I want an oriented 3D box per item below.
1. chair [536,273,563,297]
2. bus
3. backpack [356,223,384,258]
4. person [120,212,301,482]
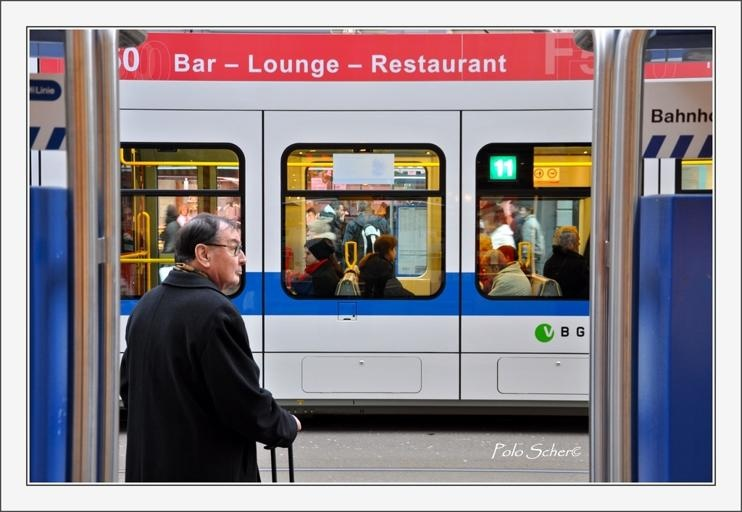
[{"bbox_3d":[1.518,0.202,11.490,0.154,0.216,0.306,-6,7,-15],"label":"chair"},{"bbox_3d":[-0.413,-0.252,12.143,6.688,3.120,2.223,1,5,-26],"label":"bus"},{"bbox_3d":[-0.026,-0.149,11.475,0.179,0.273,0.079,0,11,-8],"label":"backpack"},{"bbox_3d":[-1.018,0.577,8.126,1.066,1.660,0.490,-1,2,0],"label":"person"}]
